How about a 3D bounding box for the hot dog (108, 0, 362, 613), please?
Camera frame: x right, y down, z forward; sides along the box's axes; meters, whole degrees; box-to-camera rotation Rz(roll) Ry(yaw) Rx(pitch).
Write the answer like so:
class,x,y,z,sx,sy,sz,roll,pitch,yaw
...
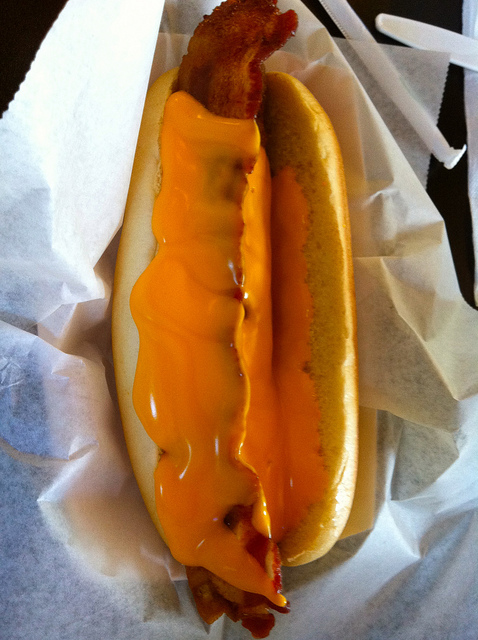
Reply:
class,x,y,z,sx,sy,sz,roll,pitch,yaw
hot dog,-0.053,-0.057,0.981,0.391,0.256,0.799,5,83,-35
